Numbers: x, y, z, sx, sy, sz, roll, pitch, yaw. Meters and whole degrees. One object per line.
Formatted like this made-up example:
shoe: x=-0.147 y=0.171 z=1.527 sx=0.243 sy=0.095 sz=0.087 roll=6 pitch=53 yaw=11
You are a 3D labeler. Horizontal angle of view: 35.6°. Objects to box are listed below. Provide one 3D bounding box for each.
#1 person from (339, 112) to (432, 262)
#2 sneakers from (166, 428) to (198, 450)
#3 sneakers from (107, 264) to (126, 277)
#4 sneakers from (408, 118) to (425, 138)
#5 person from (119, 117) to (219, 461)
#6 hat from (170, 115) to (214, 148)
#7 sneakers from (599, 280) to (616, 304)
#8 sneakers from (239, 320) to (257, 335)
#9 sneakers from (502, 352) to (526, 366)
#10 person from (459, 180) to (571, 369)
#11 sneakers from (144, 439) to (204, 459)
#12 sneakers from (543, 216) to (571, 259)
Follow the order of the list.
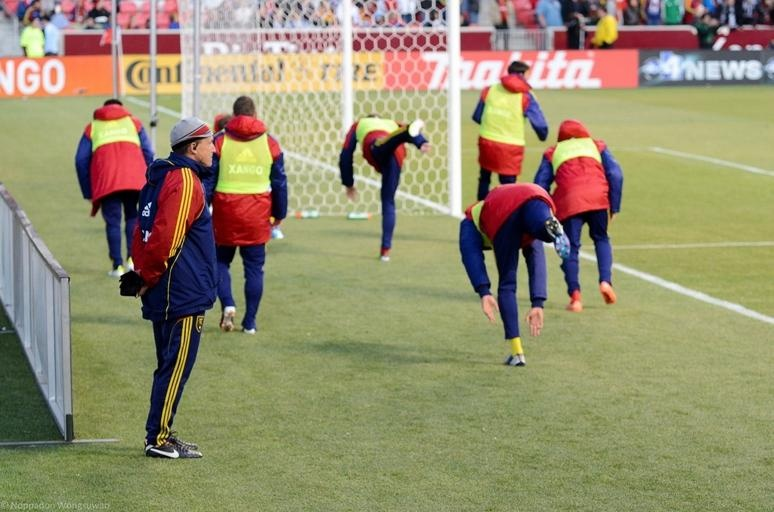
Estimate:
person: x=-0.034 y=-0.771 z=14.183 sx=0.860 sy=1.724 sz=1.305 roll=-4 pitch=10 yaw=-28
sneakers: x=-1.651 y=1.553 z=10.019 sx=0.315 sy=0.137 sz=0.102 roll=23 pitch=16 yaw=-12
sneakers: x=-2.992 y=0.170 z=13.440 sx=0.255 sy=0.152 sz=0.115 roll=7 pitch=7 yaw=17
sneakers: x=0.368 y=-1.438 z=13.616 sx=0.095 sy=0.216 sz=0.151 roll=2 pitch=44 yaw=-46
person: x=-1.749 y=0.278 z=9.861 sx=0.743 sy=2.776 sz=0.372 roll=-1 pitch=9 yaw=-8
hat: x=-1.581 y=-0.992 z=9.853 sx=0.288 sy=0.140 sz=0.252 roll=-18 pitch=9 yaw=-5
sneakers: x=2.348 y=0.402 z=12.533 sx=0.121 sy=0.294 sz=0.140 roll=-21 pitch=34 yaw=4
sneakers: x=-1.367 y=0.715 z=11.965 sx=0.154 sy=0.140 sz=0.106 roll=0 pitch=12 yaw=-1
sneakers: x=1.217 y=0.978 z=11.260 sx=0.106 sy=0.089 sz=0.206 roll=0 pitch=2 yaw=-12
person: x=1.186 y=0.196 z=11.077 sx=1.101 sy=1.705 sz=0.718 roll=5 pitch=10 yaw=26
sneakers: x=-1.728 y=1.612 z=10.019 sx=0.524 sy=0.191 sz=0.169 roll=0 pitch=-2 yaw=-6
sneakers: x=1.556 y=-0.167 z=10.696 sx=0.162 sy=0.391 sz=0.182 roll=-8 pitch=-26 yaw=-30
